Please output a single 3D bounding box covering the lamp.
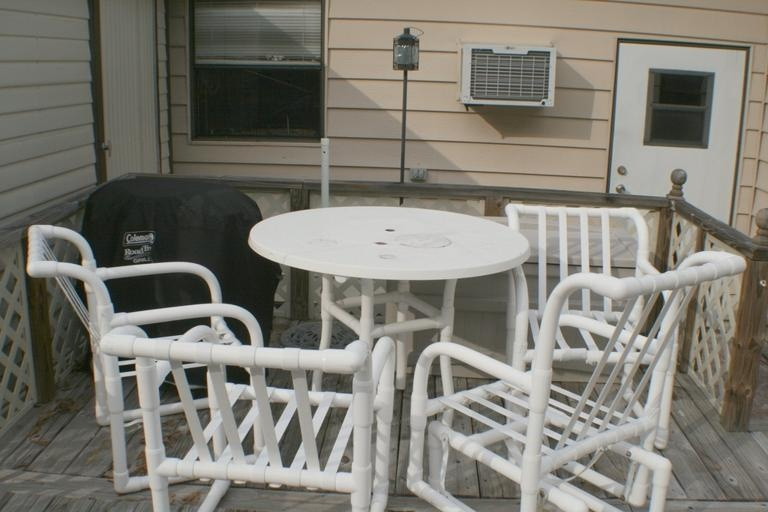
[{"bbox_3d":[0.165,-0.994,6.493,0.213,1.524,0.218,-6,17,-23],"label":"lamp"}]
